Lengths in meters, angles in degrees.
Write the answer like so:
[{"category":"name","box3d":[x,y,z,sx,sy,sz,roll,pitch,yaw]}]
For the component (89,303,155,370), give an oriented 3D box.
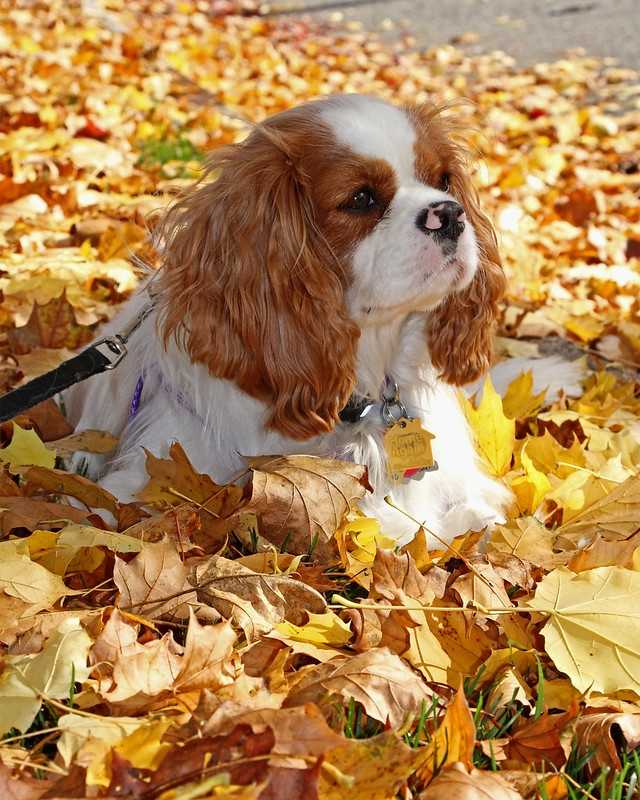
[{"category":"component","box3d":[-0.544,-0.159,2.320,0.096,0.041,0.307,37,41,3]}]
